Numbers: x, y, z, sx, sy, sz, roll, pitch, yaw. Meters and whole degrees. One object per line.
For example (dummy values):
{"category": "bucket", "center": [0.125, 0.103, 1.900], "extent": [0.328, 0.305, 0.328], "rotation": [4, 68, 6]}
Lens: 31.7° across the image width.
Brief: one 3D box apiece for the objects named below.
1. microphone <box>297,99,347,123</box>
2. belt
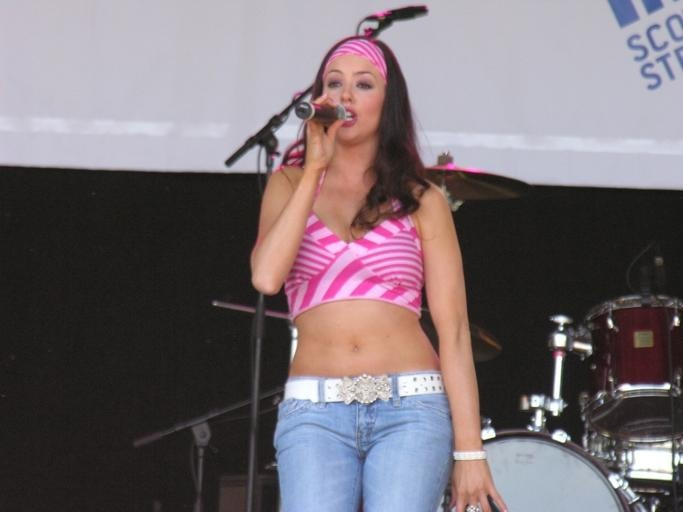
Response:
{"category": "microphone", "center": [-0.074, -0.562, 4.855], "extent": [0.230, 0.080, 0.075], "rotation": [12, 12, -45]}
{"category": "belt", "center": [0.090, 0.533, 4.772], "extent": [0.622, 0.122, 0.146], "rotation": [0, -7, -10]}
